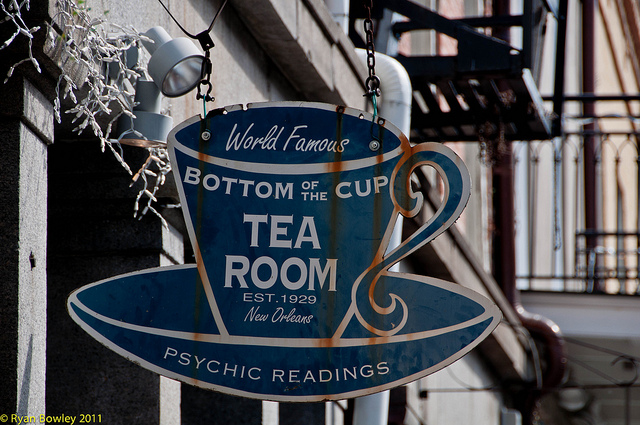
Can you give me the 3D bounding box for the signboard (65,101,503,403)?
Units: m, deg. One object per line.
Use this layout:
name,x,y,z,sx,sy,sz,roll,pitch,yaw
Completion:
signboard,-0.333,0.434,21.011,5.057,0.111,4.120,2,61,-2
